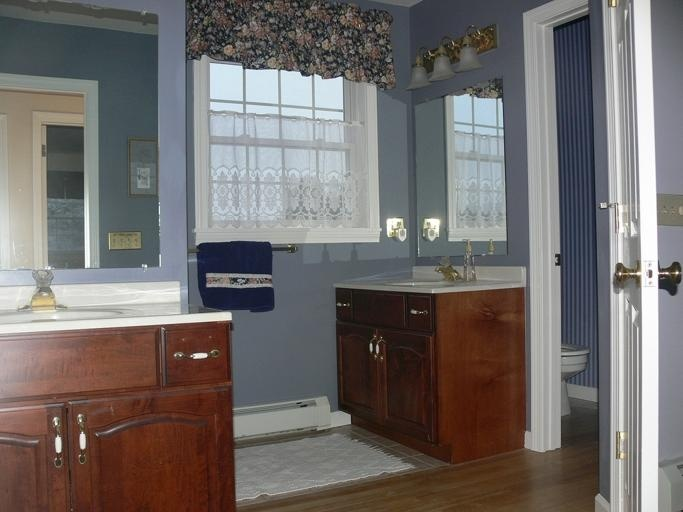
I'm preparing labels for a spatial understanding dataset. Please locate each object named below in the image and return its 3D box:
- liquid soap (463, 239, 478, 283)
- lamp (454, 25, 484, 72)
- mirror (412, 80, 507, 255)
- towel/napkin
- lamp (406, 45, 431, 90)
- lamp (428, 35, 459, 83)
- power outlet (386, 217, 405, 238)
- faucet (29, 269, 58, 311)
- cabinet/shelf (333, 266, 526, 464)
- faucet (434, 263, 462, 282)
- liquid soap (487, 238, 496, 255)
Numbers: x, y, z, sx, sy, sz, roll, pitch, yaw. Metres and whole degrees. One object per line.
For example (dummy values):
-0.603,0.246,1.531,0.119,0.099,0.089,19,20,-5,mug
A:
0.848,0.035,3.806,0.088,0.258,0.089,-6,7,-13,liquid soap
0.841,-1.363,3.802,0.164,0.317,0.271,0,3,12,lamp
0.830,-0.607,3.932,0.118,1.439,1.131,-2,1,-32,mirror
-0.642,0.112,3.473,0.407,0.456,0.124,-1,-4,-22,towel/napkin
0.549,-1.333,4.067,0.170,0.296,0.168,-1,10,18,lamp
0.674,-1.332,3.844,0.152,0.281,0.160,1,13,25,lamp
0.396,-0.208,4.297,0.136,0.152,0.071,0,1,-31,power outlet
-1.266,0.145,2.436,0.094,0.159,0.086,-3,3,-32,faucet
0.533,0.667,3.828,0.777,1.141,1.079,-1,0,-37,cabinet/shelf
0.707,0.125,3.847,0.077,0.113,0.211,1,1,-44,faucet
0.977,-0.054,3.751,0.013,0.100,0.060,-2,3,-25,liquid soap
